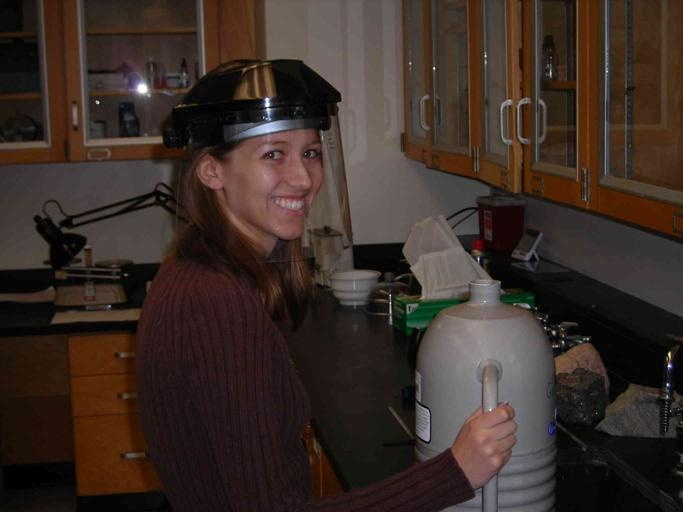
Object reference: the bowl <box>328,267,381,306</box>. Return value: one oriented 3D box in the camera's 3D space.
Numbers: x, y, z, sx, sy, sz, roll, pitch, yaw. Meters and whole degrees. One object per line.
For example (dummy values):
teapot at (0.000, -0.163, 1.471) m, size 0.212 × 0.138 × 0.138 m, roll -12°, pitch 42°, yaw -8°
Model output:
bowl at (0.049, 0.126, 2.680) m, size 0.196 × 0.140 × 0.205 m, roll 0°, pitch 15°, yaw 0°

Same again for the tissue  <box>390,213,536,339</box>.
tissue  at (0.436, 0.057, 2.339) m, size 0.468 × 0.227 × 0.337 m, roll -6°, pitch 6°, yaw -7°

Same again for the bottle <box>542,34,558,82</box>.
bottle at (0.644, -0.620, 1.983) m, size 0.019 × 0.139 × 0.076 m, roll -3°, pitch 7°, yaw -8°

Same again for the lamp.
lamp at (-1.136, -0.163, 3.046) m, size 0.785 × 0.375 × 0.133 m, roll -24°, pitch 24°, yaw -25°

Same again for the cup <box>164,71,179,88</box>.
cup at (-0.869, -0.913, 3.288) m, size 0.065 × 0.080 × 0.070 m, roll 0°, pitch 18°, yaw 0°
